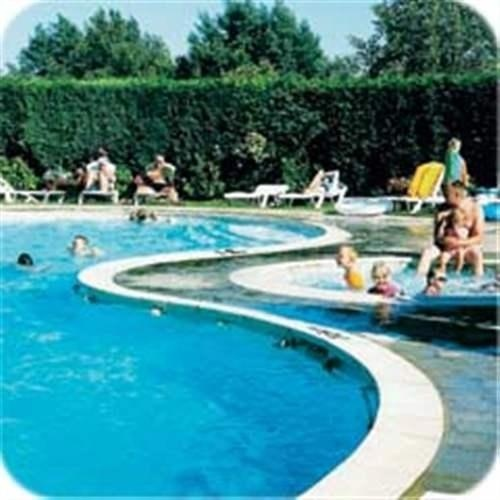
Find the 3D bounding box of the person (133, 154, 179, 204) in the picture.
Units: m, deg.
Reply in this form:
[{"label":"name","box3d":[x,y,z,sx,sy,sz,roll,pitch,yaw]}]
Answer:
[{"label":"person","box3d":[-2.565,-1.946,17.085,1.207,1.602,0.848,5,8,-9]}]

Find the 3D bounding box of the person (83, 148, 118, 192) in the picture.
[{"label":"person","box3d":[-3.906,-1.969,16.166,0.725,0.914,0.582,-6,9,-19]}]
